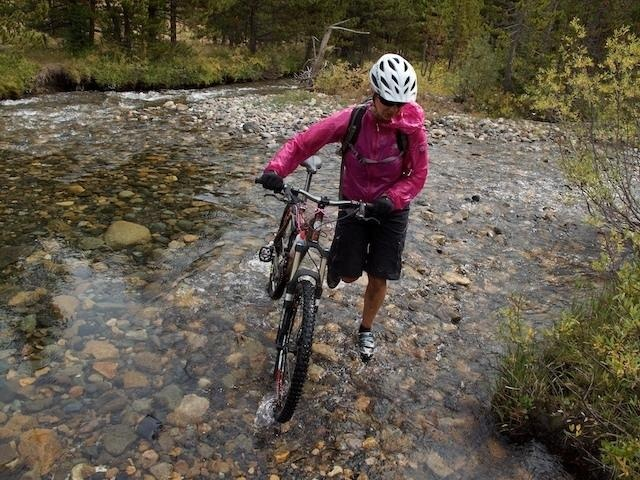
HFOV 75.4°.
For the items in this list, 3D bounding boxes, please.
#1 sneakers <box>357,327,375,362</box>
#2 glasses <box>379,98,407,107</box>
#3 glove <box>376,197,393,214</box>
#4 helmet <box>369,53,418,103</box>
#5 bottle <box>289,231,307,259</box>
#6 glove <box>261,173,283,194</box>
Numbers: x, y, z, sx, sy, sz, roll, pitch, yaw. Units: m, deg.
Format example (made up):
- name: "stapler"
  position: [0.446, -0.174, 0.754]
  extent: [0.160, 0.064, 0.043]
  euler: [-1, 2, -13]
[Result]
- name: "sneakers"
  position: [0.572, 1.303, 5.247]
  extent: [0.143, 0.182, 0.449]
  euler: [2, 35, -5]
- name: "glasses"
  position: [0.725, -1.394, 4.226]
  extent: [0.130, 0.038, 0.141]
  euler: [7, 33, -25]
- name: "glove"
  position: [0.691, -0.362, 4.425]
  extent: [0.170, 0.194, 0.134]
  euler: [3, -9, 32]
- name: "helmet"
  position: [0.746, -1.624, 4.172]
  extent: [0.382, 0.256, 0.576]
  euler: [-10, 72, -6]
- name: "bottle"
  position: [-0.211, 0.002, 4.500]
  extent: [0.128, 0.181, 0.335]
  euler: [7, 27, -3]
- name: "glove"
  position: [-0.499, -0.604, 4.303]
  extent: [0.167, 0.111, 0.231]
  euler: [26, 4, -23]
